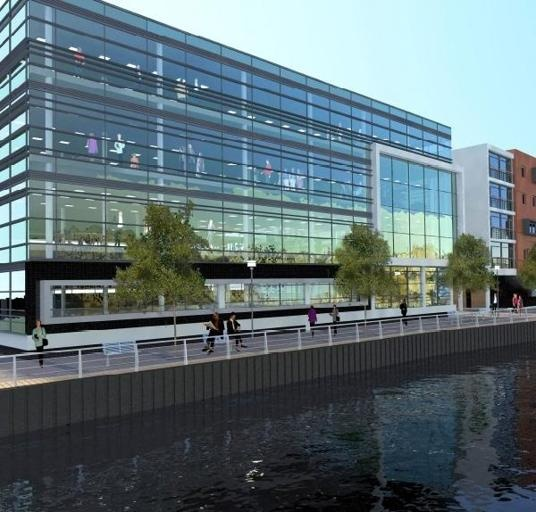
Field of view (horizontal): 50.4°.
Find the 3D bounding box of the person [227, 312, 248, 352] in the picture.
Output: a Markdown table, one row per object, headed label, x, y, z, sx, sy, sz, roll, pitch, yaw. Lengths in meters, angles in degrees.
| label | x | y | z | sx | sy | sz | roll | pitch | yaw |
| --- | --- | --- | --- | --- | --- | --- | --- | --- | --- |
| person | -1.365 | 3.301 | 24.883 | 0.830 | 1.321 | 1.990 | 1 | 0 | -4 |
